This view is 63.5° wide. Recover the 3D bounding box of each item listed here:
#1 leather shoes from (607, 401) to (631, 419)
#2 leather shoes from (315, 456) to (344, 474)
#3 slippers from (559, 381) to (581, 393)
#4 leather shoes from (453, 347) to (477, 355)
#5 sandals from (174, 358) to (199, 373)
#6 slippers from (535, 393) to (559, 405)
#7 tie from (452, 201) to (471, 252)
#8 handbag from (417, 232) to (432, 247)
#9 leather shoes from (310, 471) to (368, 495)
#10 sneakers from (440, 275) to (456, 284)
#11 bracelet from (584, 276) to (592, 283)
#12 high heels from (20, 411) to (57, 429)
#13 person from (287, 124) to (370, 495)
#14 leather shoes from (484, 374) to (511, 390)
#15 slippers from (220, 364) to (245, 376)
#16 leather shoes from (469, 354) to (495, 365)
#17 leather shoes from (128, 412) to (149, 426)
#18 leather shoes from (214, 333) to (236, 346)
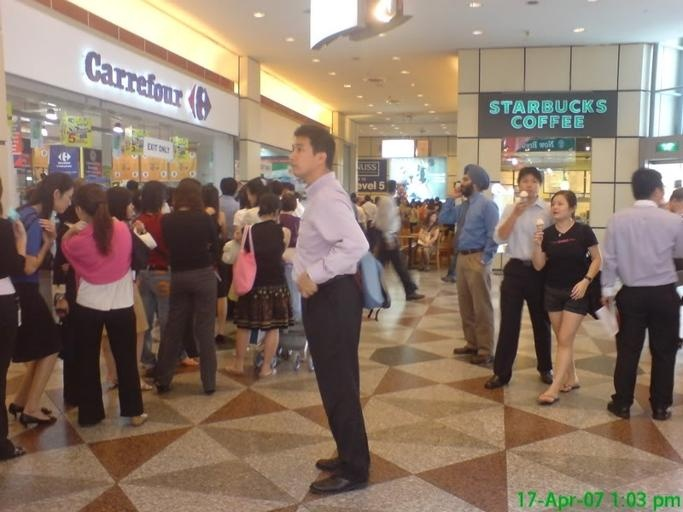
[{"bbox_3d":[2.103,1.163,4.195,0.074,0.091,0.210,1,4,0],"label":"leather shoes"},{"bbox_3d":[-0.075,1.306,3.439,0.232,0.092,0.086,7,3,-1],"label":"leather shoes"},{"bbox_3d":[1.940,1.110,4.664,0.111,0.071,0.261,-6,-10,30],"label":"slippers"},{"bbox_3d":[1.279,0.953,5.664,0.225,0.099,0.086,5,-1,13],"label":"leather shoes"},{"bbox_3d":[-1.466,1.045,5.287,0.268,0.110,0.093,-5,41,-2],"label":"sandals"},{"bbox_3d":[1.654,1.124,4.382,0.179,0.078,0.156,2,9,10],"label":"slippers"},{"bbox_3d":[1.195,-0.316,5.528,0.143,0.423,0.296,9,-11,-7],"label":"tie"},{"bbox_3d":[1.797,-0.340,11.778,0.188,0.264,0.115,2,-17,26],"label":"handbag"},{"bbox_3d":[-0.017,1.338,3.300,0.321,0.132,0.128,2,1,-9],"label":"leather shoes"},{"bbox_3d":[2.015,0.448,10.401,0.240,0.114,0.110,4,0,31],"label":"sneakers"},{"bbox_3d":[1.937,0.182,4.325,0.056,0.035,0.057,4,-12,44],"label":"bracelet"},{"bbox_3d":[-2.187,1.175,3.992,0.227,0.097,0.110,-5,8,-31],"label":"high heels"},{"bbox_3d":[-0.071,0.303,3.267,0.408,2.126,0.506,-7,11,-42],"label":"person"},{"bbox_3d":[1.354,1.082,4.741,0.253,0.109,0.092,4,-5,-33],"label":"leather shoes"},{"bbox_3d":[-0.997,1.047,5.066,0.213,0.060,0.087,8,7,30],"label":"slippers"},{"bbox_3d":[1.363,1.005,5.345,0.238,0.105,0.088,6,-16,-8],"label":"leather shoes"},{"bbox_3d":[-1.484,1.185,4.078,0.062,0.101,0.161,5,13,17],"label":"leather shoes"},{"bbox_3d":[-1.262,0.923,6.018,0.255,0.080,0.092,6,-8,-29],"label":"leather shoes"}]
